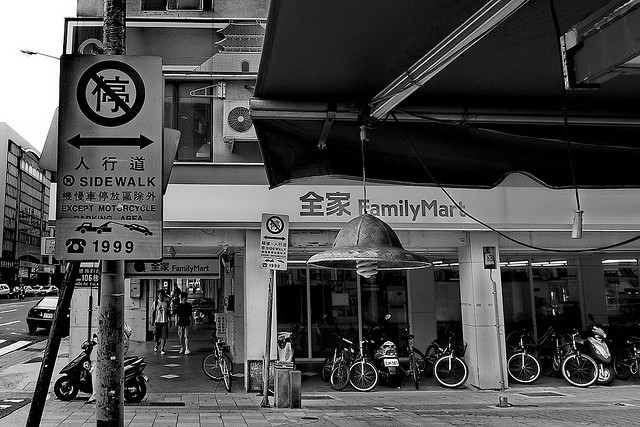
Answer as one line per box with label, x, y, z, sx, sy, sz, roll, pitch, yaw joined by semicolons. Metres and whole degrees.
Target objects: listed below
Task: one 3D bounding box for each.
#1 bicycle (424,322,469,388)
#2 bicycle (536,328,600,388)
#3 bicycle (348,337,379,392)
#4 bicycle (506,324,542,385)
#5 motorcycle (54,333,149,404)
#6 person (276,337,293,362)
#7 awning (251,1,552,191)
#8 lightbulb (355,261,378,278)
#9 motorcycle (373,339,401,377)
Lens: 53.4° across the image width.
bicycle;3.056;3.574;15.681;0.998;1.307;1.947;-1;-13;7
bicycle;5.722;3.601;15.560;0.823;1.121;1.766;18;-16;-30
bicycle;0.953;3.506;14.606;0.672;1.126;0.320;0;-13;6
bicycle;4.848;3.529;15.225;0.726;1.086;0.576;-4;-13;19
motorcycle;-4.523;3.153;13.149;1.890;1.392;0.704;-1;-3;4
person;-0.749;2.805;13.138;0.306;0.496;0.913;2;-13;-5
awning;0.929;-1.122;6.857;3.357;1.163;2.547;2;-13;-7
lightbulb;0.470;0.571;6.555;0.207;0.133;0.239;0;-13;5
motorcycle;1.529;3.323;14.795;0.616;0.815;0.474;-2;-9;-21
